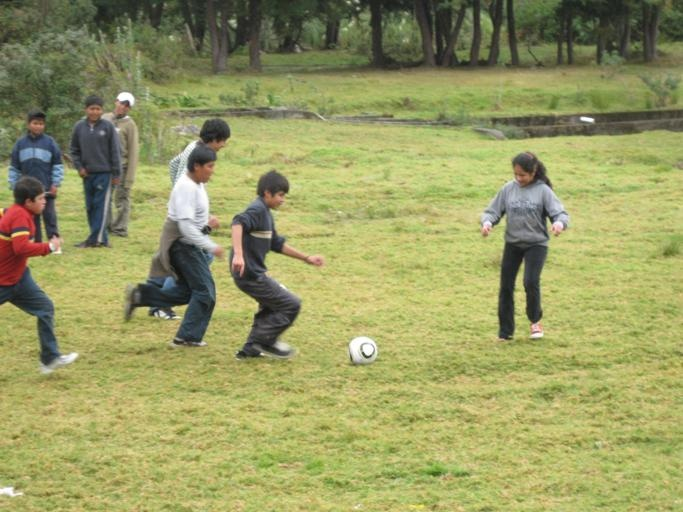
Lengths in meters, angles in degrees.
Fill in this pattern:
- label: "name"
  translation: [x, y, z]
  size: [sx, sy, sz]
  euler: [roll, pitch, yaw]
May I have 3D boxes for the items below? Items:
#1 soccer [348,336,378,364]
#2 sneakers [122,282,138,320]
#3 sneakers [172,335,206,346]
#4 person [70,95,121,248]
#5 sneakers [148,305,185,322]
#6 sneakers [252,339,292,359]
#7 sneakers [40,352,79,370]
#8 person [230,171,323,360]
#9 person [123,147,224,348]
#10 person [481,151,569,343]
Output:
- label: "soccer"
  translation: [0.392, 1.337, 17.734]
  size: [0.440, 0.372, 0.394]
  euler: [4, 16, 17]
- label: "sneakers"
  translation: [-3.141, 0.679, 17.759]
  size: [0.257, 0.478, 0.194]
  euler: [10, 11, -23]
- label: "sneakers"
  translation: [-2.242, 1.240, 17.845]
  size: [0.504, 0.164, 0.155]
  euler: [-1, 8, -8]
- label: "person"
  translation: [-4.157, -1.236, 20.543]
  size: [0.830, 2.232, 0.358]
  euler: [-2, 10, -10]
- label: "sneakers"
  translation: [-2.673, 0.900, 18.560]
  size: [0.559, 0.193, 0.185]
  euler: [2, 7, 1]
- label: "sneakers"
  translation: [-0.997, 1.349, 17.665]
  size: [0.574, 0.214, 0.221]
  euler: [-2, 29, -11]
- label: "sneakers"
  translation: [-4.021, 1.508, 17.179]
  size: [0.547, 0.207, 0.186]
  euler: [-26, 3, -1]
- label: "person"
  translation: [-1.099, 0.156, 17.364]
  size: [1.022, 2.698, 0.460]
  euler: [-4, 10, -19]
- label: "person"
  translation: [-2.358, -0.095, 17.452]
  size: [1.212, 2.928, 0.454]
  euler: [1, 10, 9]
- label: "person"
  translation: [2.784, -0.142, 18.239]
  size: [1.156, 2.800, 0.912]
  euler: [-2, 10, -8]
